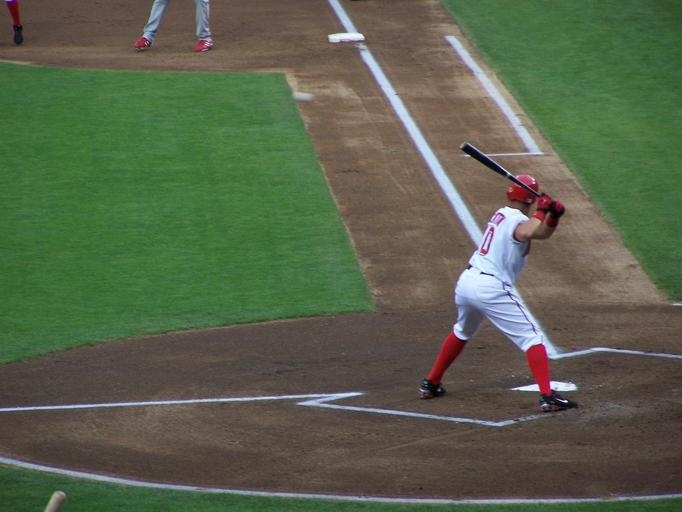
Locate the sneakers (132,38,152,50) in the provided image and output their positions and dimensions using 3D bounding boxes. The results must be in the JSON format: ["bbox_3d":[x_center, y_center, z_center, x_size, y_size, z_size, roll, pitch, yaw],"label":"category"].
[{"bbox_3d":[-3.333,-3.496,27.097,0.163,0.147,0.352,18,11,10],"label":"sneakers"}]

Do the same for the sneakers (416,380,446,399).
[{"bbox_3d":[1.028,1.612,19.793,0.387,0.129,0.161,-3,8,-38],"label":"sneakers"}]

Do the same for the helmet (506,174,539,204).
[{"bbox_3d":[2.176,-0.808,19.779,0.331,0.322,0.429,31,14,16],"label":"helmet"}]

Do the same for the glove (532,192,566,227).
[{"bbox_3d":[2.405,-0.517,19.386,0.332,0.394,0.479,4,38,2],"label":"glove"}]
